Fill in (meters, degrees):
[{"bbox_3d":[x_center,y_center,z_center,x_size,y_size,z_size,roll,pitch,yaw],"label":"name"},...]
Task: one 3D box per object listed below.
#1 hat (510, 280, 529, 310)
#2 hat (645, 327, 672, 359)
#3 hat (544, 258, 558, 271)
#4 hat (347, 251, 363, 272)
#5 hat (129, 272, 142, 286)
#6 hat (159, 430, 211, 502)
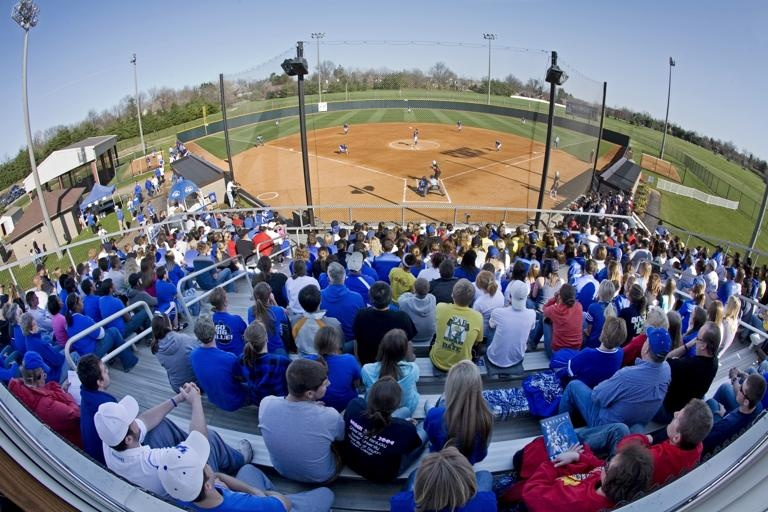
[{"bbox_3d":[2.057,0.594,6.925,0.244,0.432,0.212,3,-26,13],"label":"hat"},{"bbox_3d":[3.409,1.047,5.728,0.242,0.203,0.371,5,56,10],"label":"hat"},{"bbox_3d":[3.247,0.183,8.914,0.250,0.224,0.473,5,15,18],"label":"hat"},{"bbox_3d":[-0.515,0.096,8.360,0.232,0.382,0.119,3,0,13],"label":"hat"},{"bbox_3d":[-4.740,0.416,8.698,0.165,0.208,0.232,3,52,2],"label":"hat"},{"bbox_3d":[-1.924,2.009,4.482,0.420,0.646,0.334,2,-11,18],"label":"hat"}]
